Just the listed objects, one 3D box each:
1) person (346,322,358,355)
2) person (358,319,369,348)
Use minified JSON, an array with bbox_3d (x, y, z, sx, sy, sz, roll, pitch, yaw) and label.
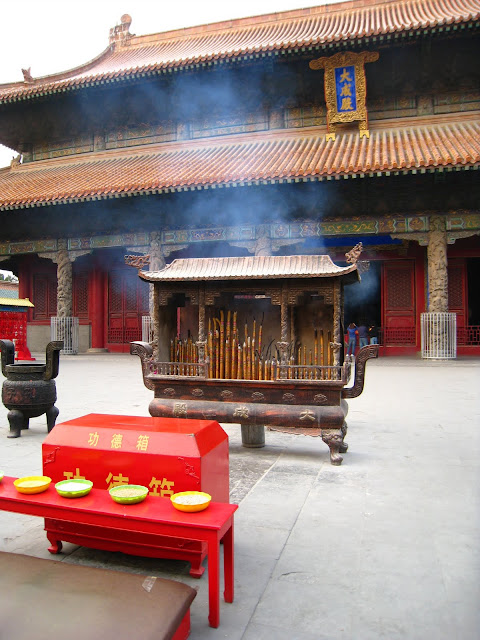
[{"bbox_3d":[2.846,0.474,16.017,0.282,0.763,1.268,-1,1,11],"label":"person"},{"bbox_3d":[3.017,0.375,15.558,0.223,0.598,1.169,-1,1,12],"label":"person"}]
